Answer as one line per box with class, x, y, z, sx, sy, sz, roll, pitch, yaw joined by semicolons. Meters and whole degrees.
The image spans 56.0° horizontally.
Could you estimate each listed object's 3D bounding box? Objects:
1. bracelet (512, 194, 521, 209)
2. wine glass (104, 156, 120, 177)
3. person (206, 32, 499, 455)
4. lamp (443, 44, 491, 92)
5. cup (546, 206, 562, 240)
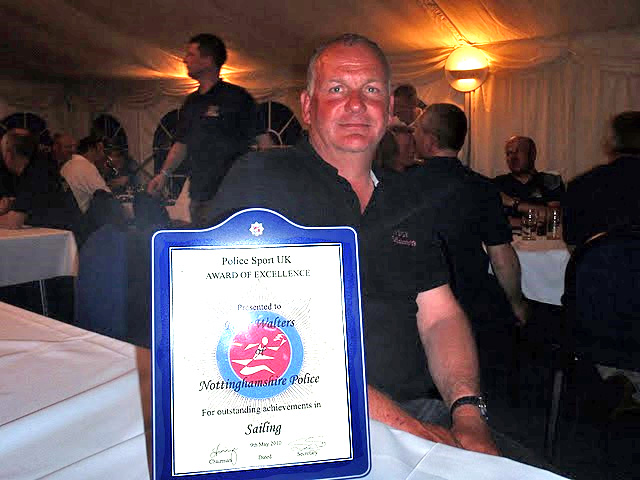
bracelet;1.382;-0.253;4.237;0.046;0.070;0.065;2;-17;21
wine glass;-2.896;-1.007;8.347;0.230;0.330;0.355;-4;11;-27
person;0.087;-0.035;2.082;0.973;1.351;0.954;5;12;10
lamp;1.783;-2.121;7.348;0.574;0.596;0.383;4;-1;16
cup;1.523;-0.105;3.918;0.081;0.231;0.133;13;-23;-2
